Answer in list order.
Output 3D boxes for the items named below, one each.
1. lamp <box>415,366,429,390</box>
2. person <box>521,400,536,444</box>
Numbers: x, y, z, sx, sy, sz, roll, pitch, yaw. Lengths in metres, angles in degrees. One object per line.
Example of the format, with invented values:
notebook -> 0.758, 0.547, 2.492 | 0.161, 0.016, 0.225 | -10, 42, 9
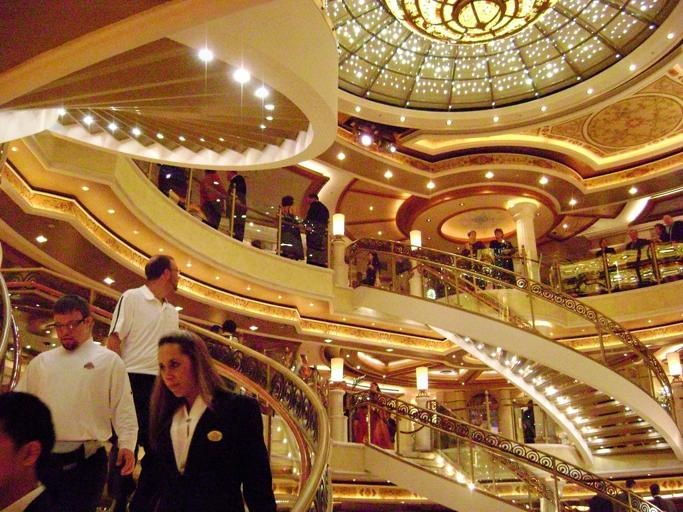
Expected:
lamp -> 2.148, 3.205, 14.267 | 0.255, 0.663, 0.357 | 4, -34, 4
person -> 4.777, 4.244, 13.659 | 0.354, 1.030, 0.259 | -5, -35, 17
